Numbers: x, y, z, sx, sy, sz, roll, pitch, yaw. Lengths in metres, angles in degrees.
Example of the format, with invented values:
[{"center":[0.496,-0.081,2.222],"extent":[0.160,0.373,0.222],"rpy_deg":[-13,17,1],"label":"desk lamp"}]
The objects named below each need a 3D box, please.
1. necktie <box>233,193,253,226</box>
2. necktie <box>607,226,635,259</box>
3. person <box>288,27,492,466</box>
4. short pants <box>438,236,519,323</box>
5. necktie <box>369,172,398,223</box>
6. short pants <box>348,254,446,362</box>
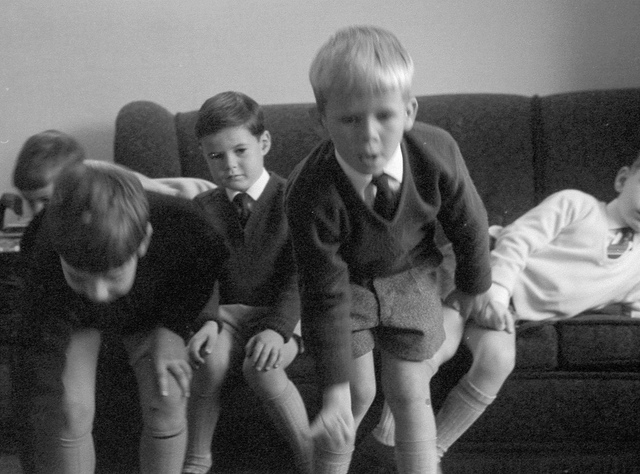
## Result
[{"center":[-0.147,-0.060,1.398],"extent":[0.033,0.045,0.014],"rpy_deg":[-5,5,24],"label":"necktie"},{"center":[0.629,0.013,1.535],"extent":[0.074,0.072,0.041],"rpy_deg":[1,8,17],"label":"necktie"},{"center":[0.143,0.030,1.419],"extent":[0.407,0.843,0.176],"rpy_deg":[-1,10,-5],"label":"person"},{"center":[0.291,0.077,1.433],"extent":[0.171,0.166,0.051],"rpy_deg":[2,0,-3],"label":"short pants"},{"center":[0.116,-0.078,1.406],"extent":[0.062,0.085,0.027],"rpy_deg":[-21,18,-5],"label":"necktie"},{"center":[0.170,0.139,1.479],"extent":[0.238,0.177,0.152],"rpy_deg":[-3,9,45],"label":"short pants"}]
